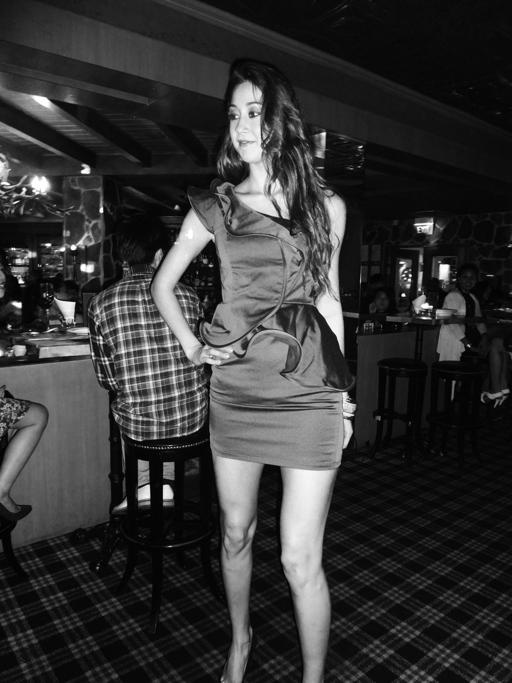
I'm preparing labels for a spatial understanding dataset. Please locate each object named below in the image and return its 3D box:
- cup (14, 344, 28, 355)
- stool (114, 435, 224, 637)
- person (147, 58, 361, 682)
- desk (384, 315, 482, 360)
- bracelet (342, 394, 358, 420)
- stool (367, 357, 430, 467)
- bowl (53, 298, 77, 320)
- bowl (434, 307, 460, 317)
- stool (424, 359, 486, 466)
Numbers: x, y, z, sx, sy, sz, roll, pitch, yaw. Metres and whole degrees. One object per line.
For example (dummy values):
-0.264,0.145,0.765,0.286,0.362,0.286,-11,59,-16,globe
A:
-1.042,0.034,2.482,0.048,0.043,0.046,1,-3,0,cup
-0.328,0.645,2.127,0.400,0.638,0.398,-12,14,-30,stool
-0.003,0.160,1.438,0.488,1.742,0.269,3,5,20,person
1.487,-0.037,4.634,0.690,0.399,1.315,4,6,25,desk
0.235,0.164,1.430,0.052,0.056,0.065,2,-11,3,bracelet
1.061,0.459,4.045,0.478,0.678,0.467,1,6,-23,stool
-1.164,-0.201,3.450,0.155,0.144,0.138,-2,4,9,bowl
1.600,-0.241,4.613,0.188,0.059,0.484,3,6,23,bowl
1.550,0.477,4.344,0.369,0.718,1.257,3,6,22,stool
